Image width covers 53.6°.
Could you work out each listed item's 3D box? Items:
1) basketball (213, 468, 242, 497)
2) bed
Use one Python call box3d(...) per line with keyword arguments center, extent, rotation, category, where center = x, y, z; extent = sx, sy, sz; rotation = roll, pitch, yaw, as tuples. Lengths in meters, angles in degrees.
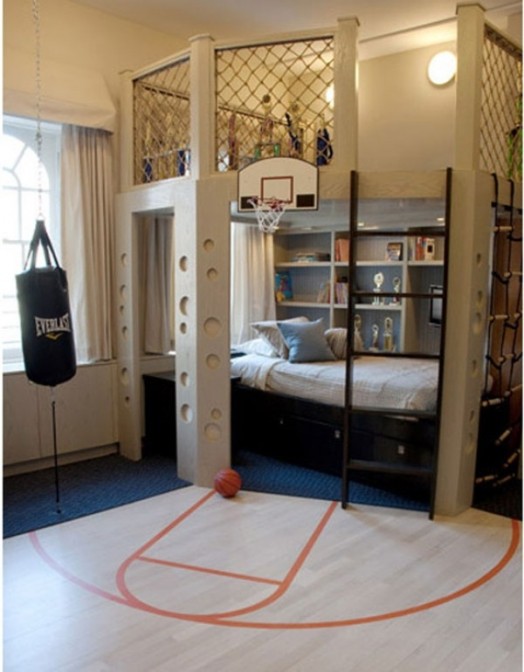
box3d(center=(-0.228, 0.973, 3.407), extent=(0.171, 0.179, 0.176), rotation=(0, 4, -9), category="basketball")
box3d(center=(0.726, 0.639, 3.878), extent=(1.423, 0.864, 0.493), rotation=(0, 1, 43), category="bed")
